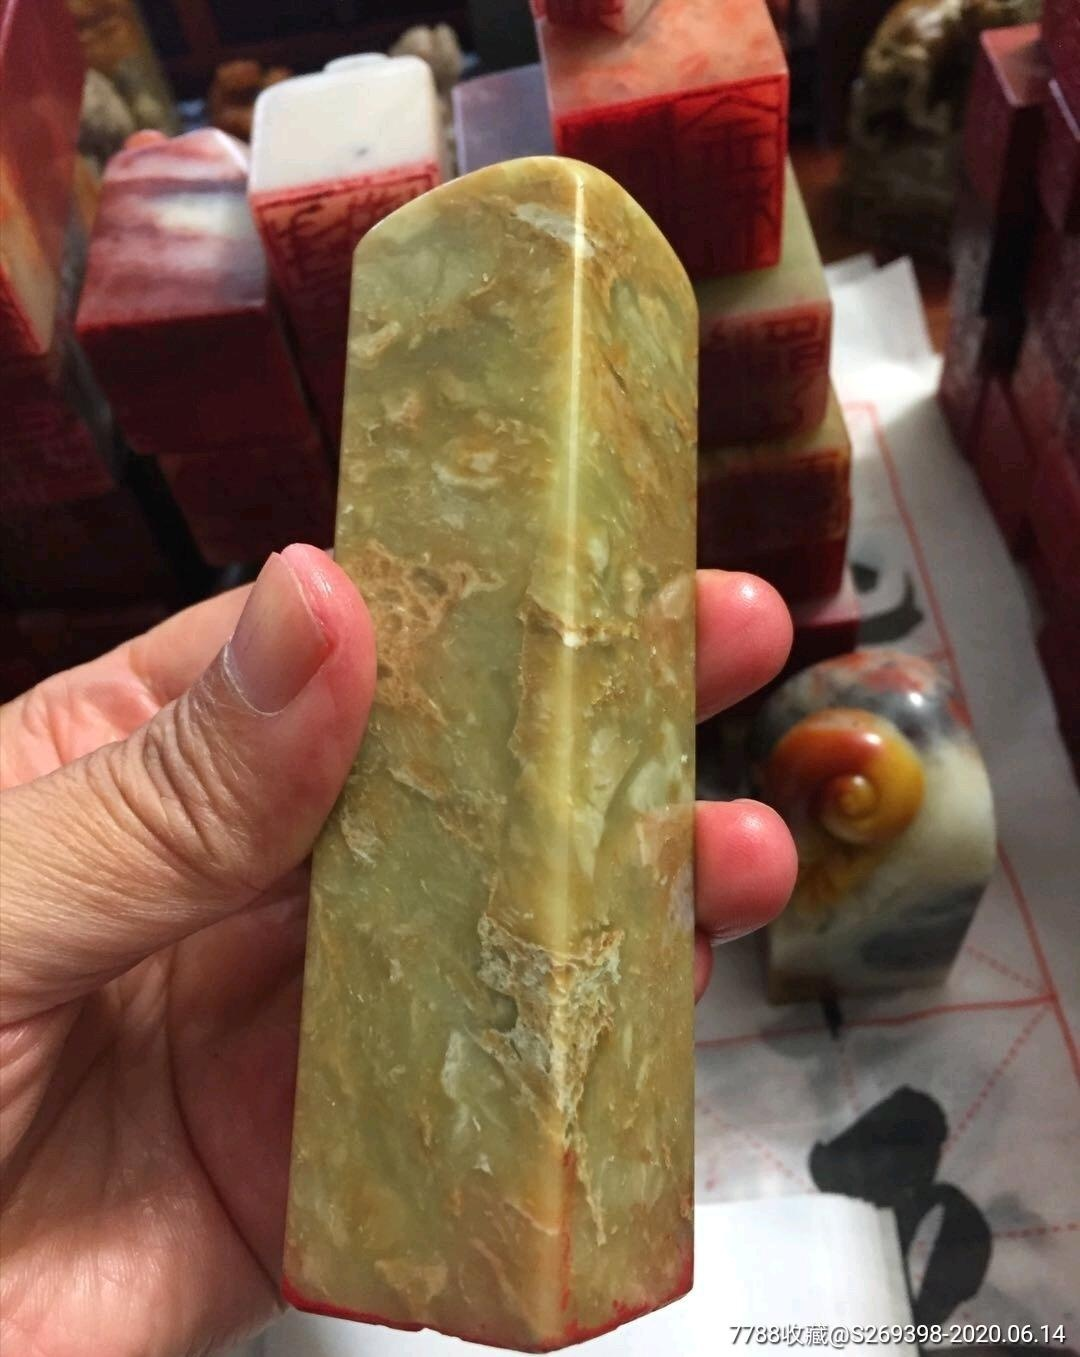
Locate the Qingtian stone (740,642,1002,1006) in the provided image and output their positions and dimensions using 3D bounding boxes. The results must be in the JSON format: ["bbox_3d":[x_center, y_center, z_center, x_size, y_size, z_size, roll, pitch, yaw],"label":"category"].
[{"bbox_3d":[0.241,0.102,0.899,0.172,0.198,0.223,-6,8,4],"label":"Qingtian stone"}]

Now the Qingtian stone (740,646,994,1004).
[{"bbox_3d":[0.236,0.081,0.908,0.174,0.212,0.222,1,33,16],"label":"Qingtian stone"}]
